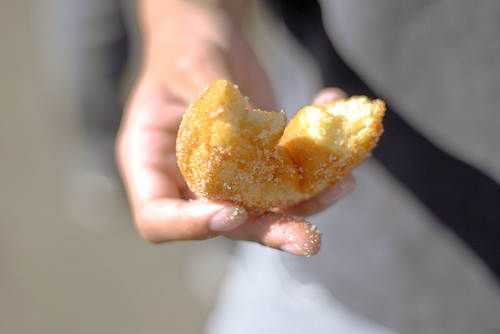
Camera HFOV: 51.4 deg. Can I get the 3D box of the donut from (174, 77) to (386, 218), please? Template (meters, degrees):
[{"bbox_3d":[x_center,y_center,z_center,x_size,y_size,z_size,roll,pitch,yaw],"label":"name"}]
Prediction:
[{"bbox_3d":[0.087,-0.039,1.291,0.511,0.351,0.220,-8,61,1],"label":"donut"}]
